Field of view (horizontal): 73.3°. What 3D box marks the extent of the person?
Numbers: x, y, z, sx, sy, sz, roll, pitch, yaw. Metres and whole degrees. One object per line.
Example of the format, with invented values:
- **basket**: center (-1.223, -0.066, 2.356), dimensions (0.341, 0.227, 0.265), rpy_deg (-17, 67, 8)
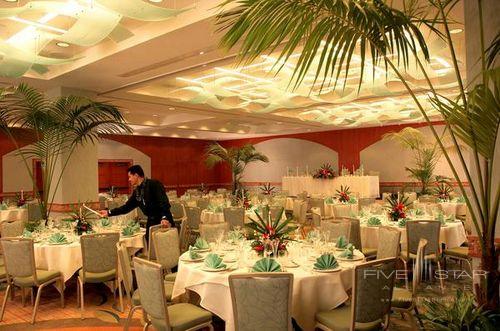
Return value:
- **person**: center (-2.071, 1.096, 6.292), dimensions (1.446, 2.069, 0.886), rpy_deg (-10, -9, 4)
